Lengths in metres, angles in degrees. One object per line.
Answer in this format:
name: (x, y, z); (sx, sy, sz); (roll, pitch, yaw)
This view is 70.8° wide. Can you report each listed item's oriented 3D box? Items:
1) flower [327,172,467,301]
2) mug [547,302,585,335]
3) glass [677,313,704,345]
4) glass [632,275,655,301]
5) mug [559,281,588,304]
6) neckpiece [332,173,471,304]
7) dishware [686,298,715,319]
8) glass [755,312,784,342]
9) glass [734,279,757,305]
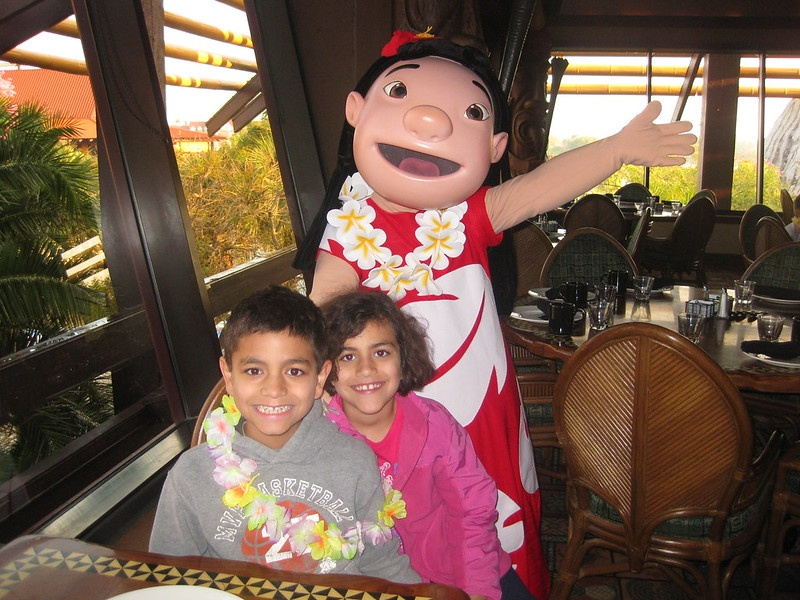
flower: (-0.008, -0.134, 1.574); (0.294, 0.311, 0.099); (-25, -21, 0)
mug: (0.694, 0.079, 2.348); (0.166, 0.132, 0.104); (1, 5, 16)
glass: (1.091, 0.110, 2.112); (0.099, 0.118, 0.107); (-1, 6, 5)
glass: (1.150, -0.056, 2.704); (0.105, 0.127, 0.114); (1, 0, 7)
mug: (0.787, -0.032, 2.577); (0.117, 0.106, 0.075); (-3, 0, 34)
neckpiece: (-0.017, -0.149, 1.538); (0.287, 0.308, 0.091); (-16, -27, 4)
dishware: (1.269, 0.013, 2.381); (0.101, 0.073, 0.127); (2, 11, 20)
glass: (1.454, 0.105, 2.237); (0.098, 0.098, 0.109); (0, 4, 15)
glass: (1.603, -0.034, 2.627); (0.102, 0.110, 0.098); (2, 5, 17)
